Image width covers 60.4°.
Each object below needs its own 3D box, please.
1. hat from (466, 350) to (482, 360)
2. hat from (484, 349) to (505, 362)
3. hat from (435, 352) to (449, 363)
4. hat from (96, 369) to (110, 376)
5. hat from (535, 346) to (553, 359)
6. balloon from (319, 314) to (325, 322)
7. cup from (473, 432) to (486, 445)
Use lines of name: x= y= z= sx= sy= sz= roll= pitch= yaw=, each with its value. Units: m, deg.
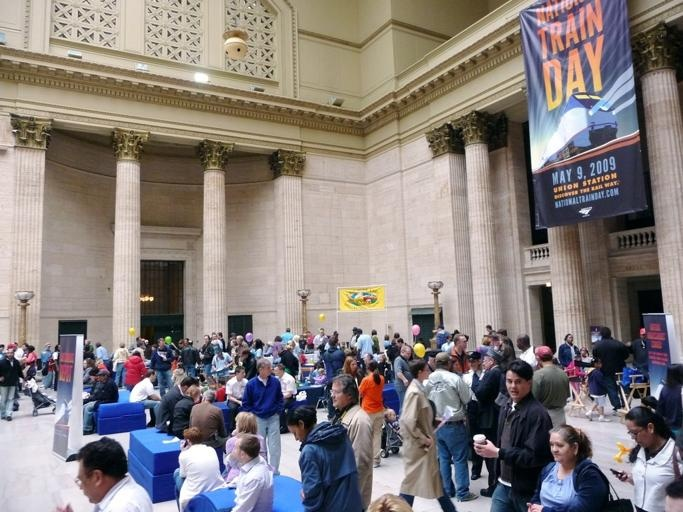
hat: x=2.513 y=1.885 z=11.122 sx=0.195 sy=0.159 sz=0.311 roll=-5 pitch=-8 yaw=17
hat: x=2.807 y=1.847 z=10.784 sx=0.335 sy=0.209 sz=0.259 roll=13 pitch=4 yaw=-43
hat: x=1.717 y=1.727 z=9.995 sx=0.228 sy=0.165 sz=0.259 roll=-3 pitch=-8 yaw=8
hat: x=-5.766 y=2.828 z=14.199 sx=0.251 sy=0.128 sz=0.320 roll=6 pitch=-10 yaw=-38
hat: x=3.187 y=1.520 z=9.308 sx=0.162 sy=0.126 sz=0.240 roll=-8 pitch=8 yaw=-21
balloon: x=-0.885 y=2.718 z=25.676 sx=0.260 sy=0.262 sz=0.302 roll=-24 pitch=-36 yaw=-13
cup: x=1.776 y=2.359 z=7.575 sx=0.143 sy=0.129 sz=0.320 roll=-4 pitch=-8 yaw=12
